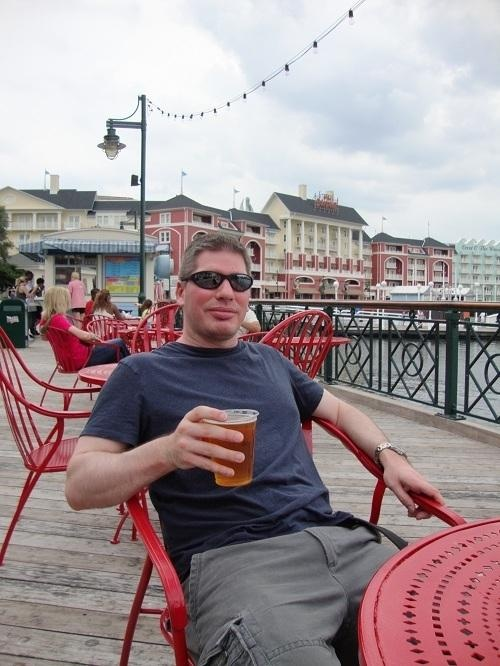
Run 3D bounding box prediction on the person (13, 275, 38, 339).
[{"bbox_3d":[-4.313,-0.506,12.982,0.435,1.172,0.407,1,2,-30],"label":"person"}]
